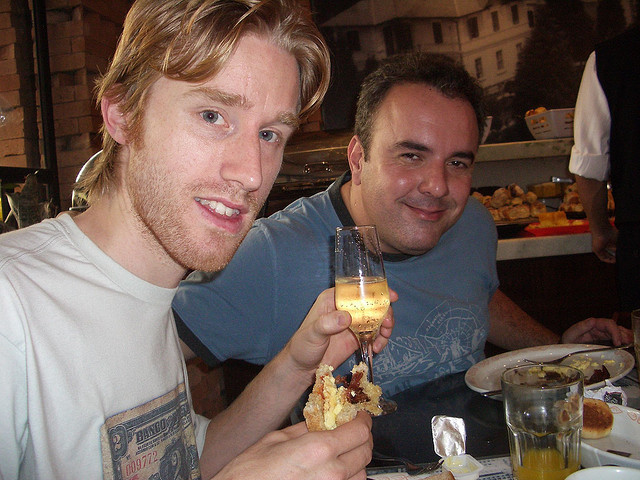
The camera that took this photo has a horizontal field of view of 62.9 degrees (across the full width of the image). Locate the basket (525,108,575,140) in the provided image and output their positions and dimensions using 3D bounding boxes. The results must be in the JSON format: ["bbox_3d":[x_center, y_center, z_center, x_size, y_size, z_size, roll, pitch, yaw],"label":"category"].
[{"bbox_3d":[1.582,-0.793,3.594,0.298,0.133,0.204,-2,3,-3],"label":"basket"}]

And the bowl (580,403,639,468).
[{"bbox_3d":[0.679,0.465,1.222,0.116,0.100,0.176,-1,7,33],"label":"bowl"}]

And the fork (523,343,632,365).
[{"bbox_3d":[0.817,0.366,1.662,0.371,0.030,0.040,-7,21,4],"label":"fork"}]

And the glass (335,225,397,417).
[{"bbox_3d":[0.119,0.193,1.489,0.158,0.462,0.124,-11,8,-40],"label":"glass"}]

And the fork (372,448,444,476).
[{"bbox_3d":[0.199,0.530,1.238,0.177,0.023,0.051,-2,7,29],"label":"fork"}]

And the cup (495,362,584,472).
[{"bbox_3d":[0.520,0.419,1.211,0.173,0.227,0.129,-4,6,13],"label":"cup"}]
